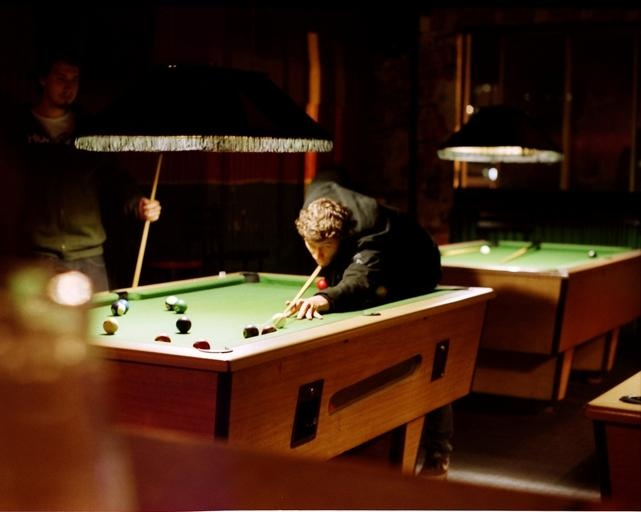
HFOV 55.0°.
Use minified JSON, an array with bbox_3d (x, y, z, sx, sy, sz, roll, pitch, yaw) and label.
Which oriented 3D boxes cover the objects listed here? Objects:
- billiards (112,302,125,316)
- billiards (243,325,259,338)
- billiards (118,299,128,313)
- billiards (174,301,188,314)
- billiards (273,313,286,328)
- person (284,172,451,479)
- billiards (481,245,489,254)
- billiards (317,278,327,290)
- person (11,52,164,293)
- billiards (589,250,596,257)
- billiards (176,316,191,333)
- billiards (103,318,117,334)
[{"bbox_3d":[-0.765,0.201,2.341,0.040,0.042,0.053,-5,0,-1],"label":"billiards"},{"bbox_3d":[-0.218,0.237,1.941,0.036,0.036,0.043,-17,-7,37],"label":"billiards"},{"bbox_3d":[-0.760,0.191,2.384,0.028,0.048,0.045,-7,40,-28],"label":"billiards"},{"bbox_3d":[-0.552,0.191,2.466,0.055,0.043,0.043,-20,55,-40],"label":"billiards"},{"bbox_3d":[-0.144,0.218,2.116,0.043,0.039,0.035,-8,-12,15],"label":"billiards"},{"bbox_3d":[0.223,0.346,2.711,0.701,1.333,0.727,8,11,7],"label":"person"},{"bbox_3d":[1.281,-0.062,4.751,0.067,0.079,0.067,-1,10,-23],"label":"billiards"},{"bbox_3d":[0.008,0.129,2.922,0.036,0.044,0.036,13,33,30],"label":"billiards"},{"bbox_3d":[-1.389,-0.250,3.594,0.755,1.738,0.594,-7,18,-35],"label":"person"},{"bbox_3d":[1.975,-0.025,4.473,0.051,0.048,0.051,-7,17,-22],"label":"billiards"},{"bbox_3d":[-0.455,0.224,2.056,0.048,0.055,0.048,8,7,43],"label":"billiards"},{"bbox_3d":[-0.676,0.225,2.004,0.045,0.053,0.046,-3,10,-16],"label":"billiards"}]
